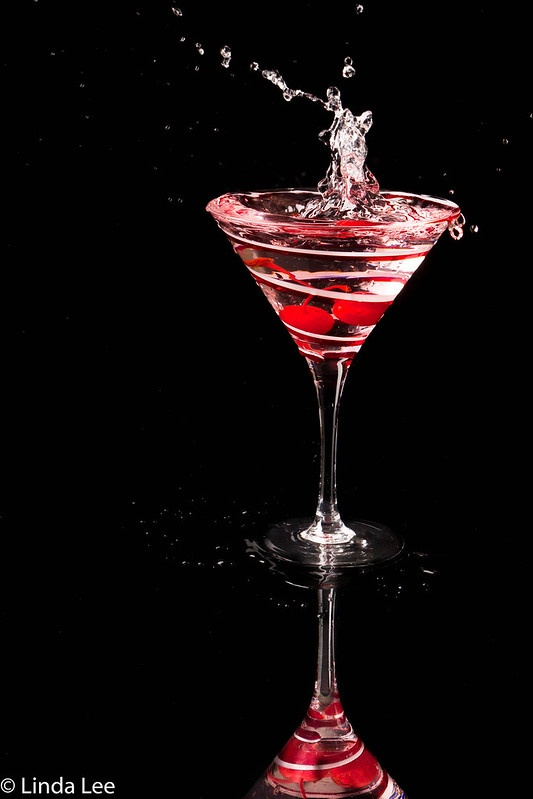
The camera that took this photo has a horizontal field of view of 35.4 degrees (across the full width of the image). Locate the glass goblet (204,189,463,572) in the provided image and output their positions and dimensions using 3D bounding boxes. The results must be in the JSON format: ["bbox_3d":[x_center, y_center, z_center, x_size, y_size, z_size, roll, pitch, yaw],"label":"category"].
[{"bbox_3d":[0.056,-0.036,1.044,0.343,0.446,0.288,2,19,4],"label":"glass goblet"}]
